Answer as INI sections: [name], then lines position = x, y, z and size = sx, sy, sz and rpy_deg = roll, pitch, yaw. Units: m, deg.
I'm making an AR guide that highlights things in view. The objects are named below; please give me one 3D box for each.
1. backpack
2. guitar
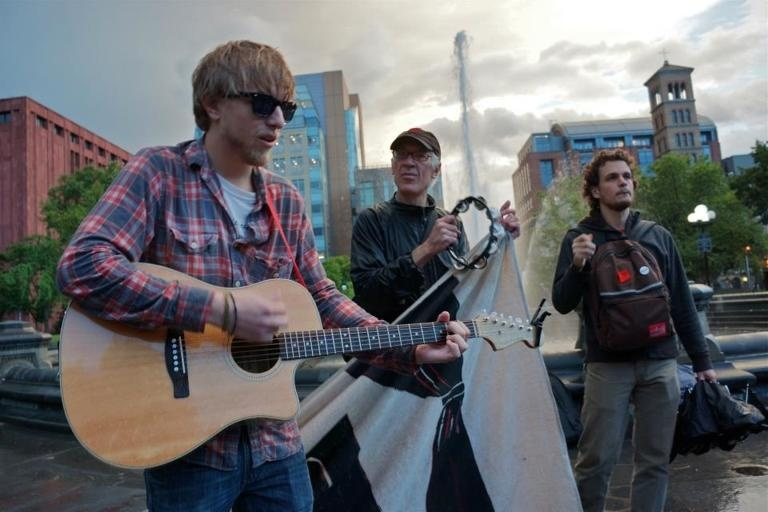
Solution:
[backpack]
position = 1.792, 0.286, 4.040
size = 0.585, 0.843, 0.297
rpy_deg = -3, -2, 20
[guitar]
position = -0.347, 0.417, 2.755
size = 2.143, 0.939, 0.298
rpy_deg = -7, 18, -20
